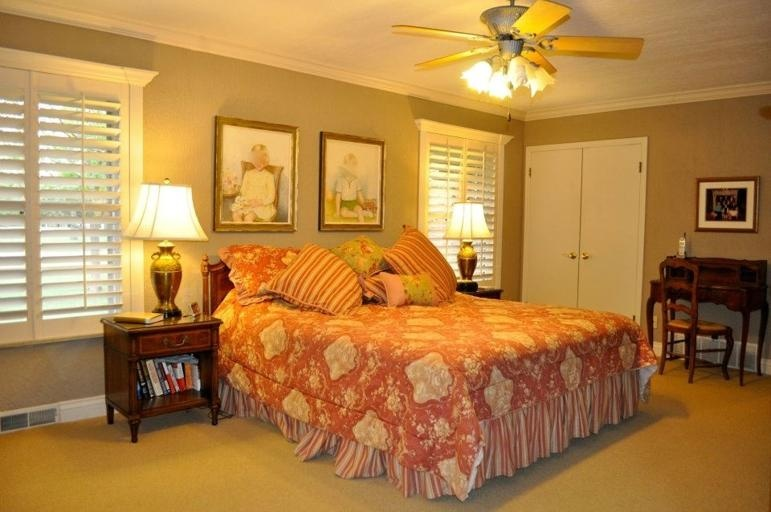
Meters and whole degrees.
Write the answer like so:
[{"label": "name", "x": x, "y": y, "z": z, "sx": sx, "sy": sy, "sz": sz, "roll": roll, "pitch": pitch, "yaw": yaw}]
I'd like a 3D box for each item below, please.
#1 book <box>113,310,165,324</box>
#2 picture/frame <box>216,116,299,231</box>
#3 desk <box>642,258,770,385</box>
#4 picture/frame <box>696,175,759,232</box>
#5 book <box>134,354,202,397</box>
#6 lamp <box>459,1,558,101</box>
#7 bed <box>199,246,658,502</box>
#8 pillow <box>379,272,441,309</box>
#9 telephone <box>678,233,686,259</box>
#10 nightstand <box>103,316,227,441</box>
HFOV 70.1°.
[{"label": "book", "x": -1.991, "y": 0.491, "z": 4.442, "sx": 0.397, "sy": 0.064, "sz": 0.234, "roll": 5, "pitch": 12, "yaw": 17}, {"label": "picture/frame", "x": -1.265, "y": -0.793, "z": 5.311, "sx": 1.080, "sy": 1.336, "sz": 0.090, "roll": -3, "pitch": 8, "yaw": -38}, {"label": "desk", "x": 3.529, "y": 0.719, "z": 5.923, "sx": 0.584, "sy": 1.416, "sz": 1.240, "roll": 1, "pitch": -1, "yaw": -34}, {"label": "picture/frame", "x": 3.863, "y": -0.582, "z": 6.139, "sx": 0.619, "sy": 0.676, "sz": 0.049, "roll": 2, "pitch": 0, "yaw": 40}, {"label": "book", "x": -1.815, "y": 0.985, "z": 4.578, "sx": 0.287, "sy": 0.138, "sz": 0.383, "roll": -2, "pitch": -3, "yaw": 44}, {"label": "lamp", "x": 1.019, "y": -1.409, "z": 4.029, "sx": 0.742, "sy": 0.486, "sz": 0.762, "roll": -4, "pitch": 5, "yaw": -26}, {"label": "bed", "x": 0.006, "y": 0.673, "z": 4.123, "sx": 1.775, "sy": 0.556, "sz": 2.003, "roll": -5, "pitch": 6, "yaw": -45}, {"label": "pillow", "x": 0.269, "y": 0.280, "z": 4.979, "sx": 0.500, "sy": 0.310, "sz": 0.156, "roll": 2, "pitch": -28, "yaw": -35}, {"label": "telephone", "x": 3.451, "y": -0.116, "z": 6.347, "sx": 0.105, "sy": 0.256, "sz": 0.219, "roll": 7, "pitch": 13, "yaw": 27}, {"label": "nightstand", "x": -1.833, "y": 0.986, "z": 4.575, "sx": 0.818, "sy": 0.849, "sz": 0.639, "roll": 1, "pitch": -1, "yaw": -39}]
